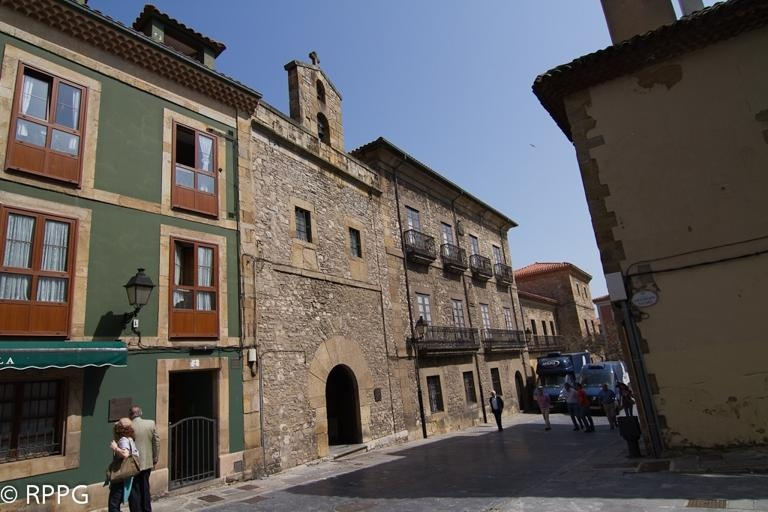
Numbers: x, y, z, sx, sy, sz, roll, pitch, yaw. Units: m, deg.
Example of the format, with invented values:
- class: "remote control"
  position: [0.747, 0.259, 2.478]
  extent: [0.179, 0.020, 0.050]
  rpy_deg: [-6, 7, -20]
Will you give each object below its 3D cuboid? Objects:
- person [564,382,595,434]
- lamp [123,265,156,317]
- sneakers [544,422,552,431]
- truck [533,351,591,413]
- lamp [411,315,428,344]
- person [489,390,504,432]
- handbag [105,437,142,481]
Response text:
- class: "person"
  position: [7.046, 5.376, 18.277]
  extent: [0.790, 1.601, 1.982]
  rpy_deg: [-8, -12, 17]
- class: "lamp"
  position: [-5.692, 0.806, 11.739]
  extent: [0.614, 1.076, 0.601]
  rpy_deg: [7, -17, -34]
- class: "sneakers"
  position: [5.997, 6.299, 18.542]
  extent: [0.207, 0.266, 0.673]
  rpy_deg: [-8, -29, 20]
- class: "truck"
  position: [9.121, 6.602, 26.742]
  extent: [2.031, 2.984, 5.235]
  rpy_deg: [-14, -34, 29]
- class: "lamp"
  position: [1.422, 2.804, 19.562]
  extent: [0.602, 1.005, 0.903]
  rpy_deg: [-10, -13, 26]
- class: "person"
  position: [4.331, 5.911, 19.424]
  extent: [0.400, 1.472, 1.317]
  rpy_deg: [-6, -12, 10]
- class: "handbag"
  position: [-4.918, 3.825, 9.540]
  extent: [0.540, 0.794, 0.271]
  rpy_deg: [2, -13, -27]
